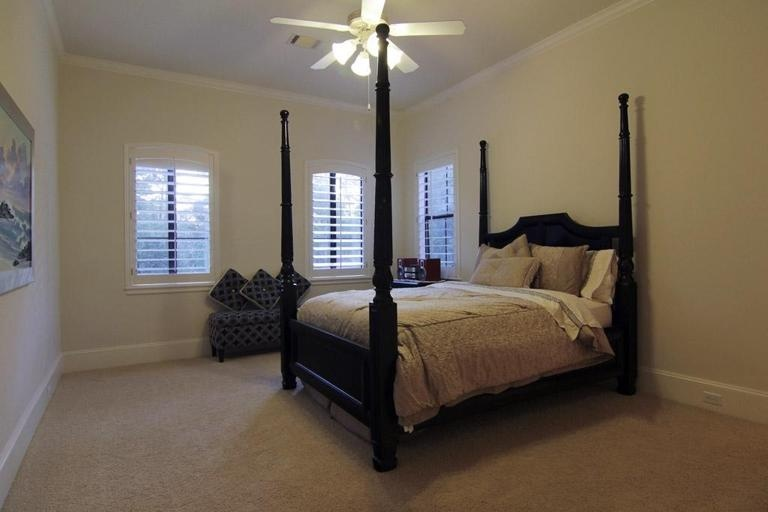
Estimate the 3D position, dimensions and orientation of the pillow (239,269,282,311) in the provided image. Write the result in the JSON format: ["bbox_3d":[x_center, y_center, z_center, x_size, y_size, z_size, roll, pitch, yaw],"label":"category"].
[{"bbox_3d":[-1.591,0.459,6.881,0.176,0.536,0.536,-34,10,37],"label":"pillow"}]

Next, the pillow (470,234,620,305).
[{"bbox_3d":[1.714,0.120,5.427,0.302,0.830,0.899,30,-20,-37],"label":"pillow"}]
